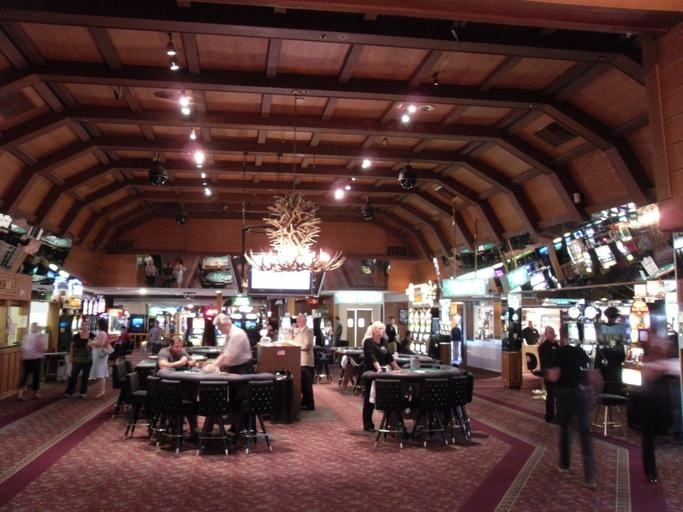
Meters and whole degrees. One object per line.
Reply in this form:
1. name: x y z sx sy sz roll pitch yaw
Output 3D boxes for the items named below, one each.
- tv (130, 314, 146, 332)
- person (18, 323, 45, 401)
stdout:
1. tv: -12.278 3.998 26.958 0.961 1.026 0.637 4 -9 -24
2. person: -6.589 2.183 9.552 0.413 1.551 0.663 6 -10 -32
